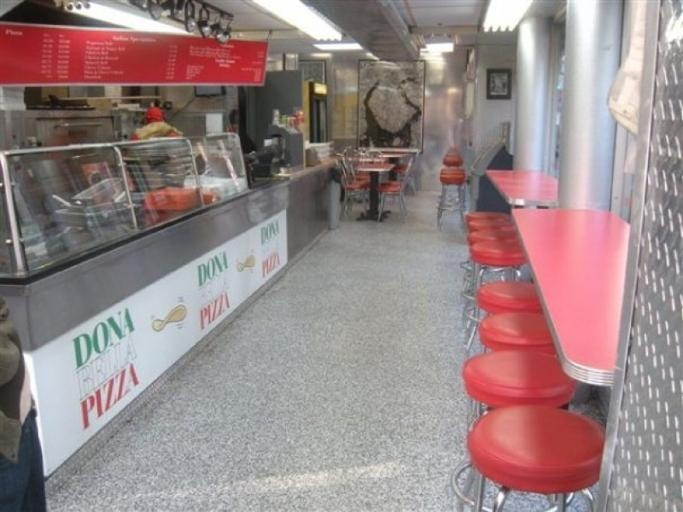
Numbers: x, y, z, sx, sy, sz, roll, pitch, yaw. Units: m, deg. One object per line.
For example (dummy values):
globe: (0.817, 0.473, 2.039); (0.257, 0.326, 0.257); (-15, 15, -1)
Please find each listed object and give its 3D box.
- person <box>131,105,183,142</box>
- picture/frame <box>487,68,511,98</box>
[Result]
person: (-2.367, -1.669, 6.209); (0.699, 0.407, 0.551); (15, 21, 43)
picture/frame: (3.160, -3.463, 9.783); (0.527, 0.651, 0.043); (1, 7, 8)
